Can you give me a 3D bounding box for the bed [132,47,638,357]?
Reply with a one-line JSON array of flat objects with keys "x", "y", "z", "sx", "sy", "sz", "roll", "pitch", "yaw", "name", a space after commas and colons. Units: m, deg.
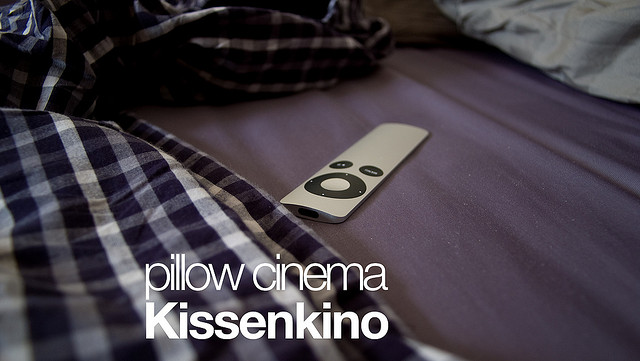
[{"x": 0.268, "y": -0.065, "z": 0.949, "sx": 0.945, "sy": 0.128, "sz": 0.792, "roll": 33, "pitch": 54, "yaw": 21, "name": "bed"}]
